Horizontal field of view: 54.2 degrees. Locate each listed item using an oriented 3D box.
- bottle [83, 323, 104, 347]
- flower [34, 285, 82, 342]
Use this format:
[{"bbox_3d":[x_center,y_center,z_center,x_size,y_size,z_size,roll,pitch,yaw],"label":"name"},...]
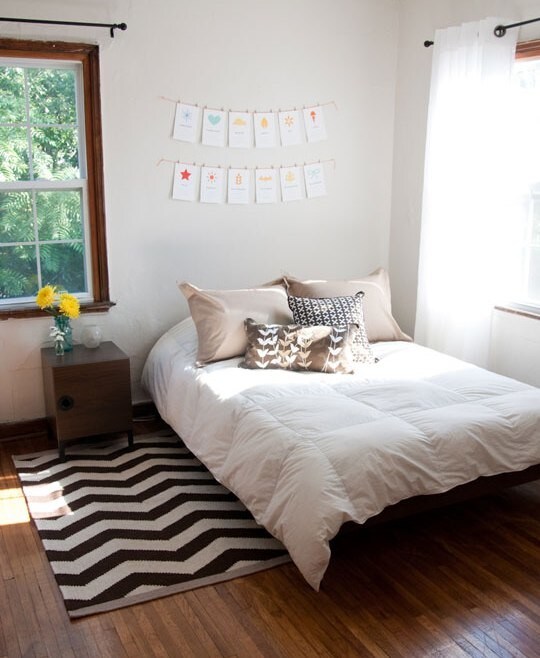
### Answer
[{"bbox_3d":[-0.984,0.041,2.977,0.115,0.132,0.111,1,5,-33],"label":"bottle"},{"bbox_3d":[-1.181,-0.086,2.970,0.225,0.332,0.398,-5,14,-21],"label":"flower"}]
